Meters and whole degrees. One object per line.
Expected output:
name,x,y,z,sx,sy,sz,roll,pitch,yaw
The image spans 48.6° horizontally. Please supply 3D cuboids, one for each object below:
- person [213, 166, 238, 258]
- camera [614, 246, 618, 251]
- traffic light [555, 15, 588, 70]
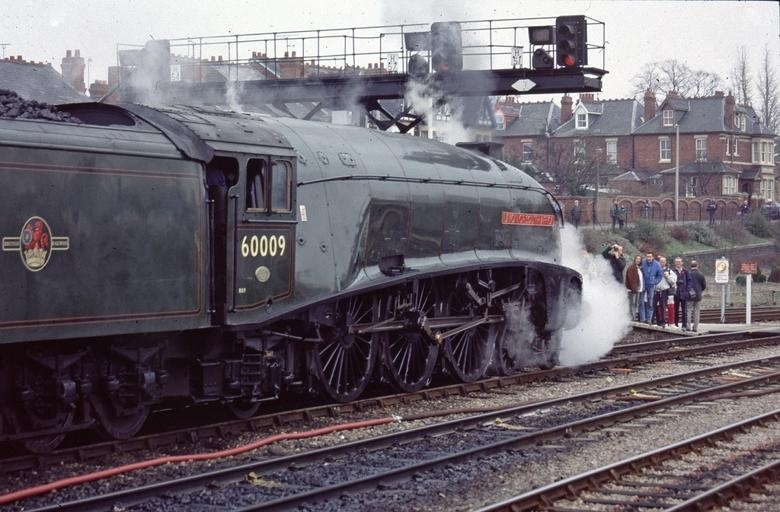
person,-2.511,-0.673,13.083,0.414,1.482,0.377,-2,4,-11
camera,6.316,-0.193,24.171,0.081,0.148,0.082,1,1,21
traffic light,4.384,-5.122,20.952,0.748,1.282,0.693,0,6,28
